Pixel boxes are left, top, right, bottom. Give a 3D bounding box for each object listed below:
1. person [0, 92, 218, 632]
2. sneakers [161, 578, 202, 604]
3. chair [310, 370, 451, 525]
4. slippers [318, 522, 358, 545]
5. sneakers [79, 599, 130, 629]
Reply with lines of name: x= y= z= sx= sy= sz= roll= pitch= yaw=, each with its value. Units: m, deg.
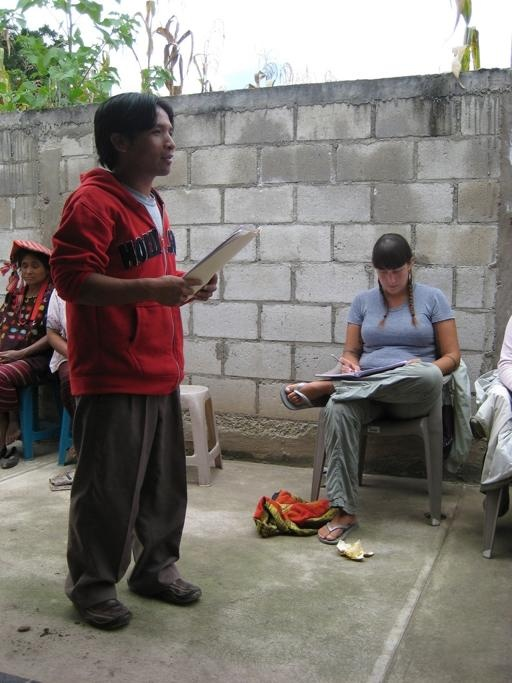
person: x=-0.360 y=0.075 z=1.842 sx=0.459 sy=1.574 sz=0.490 roll=0 pitch=3 yaw=-9
sneakers: x=-0.250 y=0.818 z=1.960 sx=0.130 sy=0.052 sz=0.067 roll=1 pitch=16 yaw=15
chair: x=0.614 y=0.524 z=3.012 sx=0.664 sy=0.432 sz=0.595 roll=2 pitch=9 yaw=12
slippers: x=0.347 y=0.826 z=2.619 sx=0.101 sy=0.068 sz=0.177 roll=2 pitch=2 yaw=34
sneakers: x=-0.449 y=0.809 z=1.824 sx=0.187 sy=0.070 sz=0.065 roll=0 pitch=2 yaw=23
